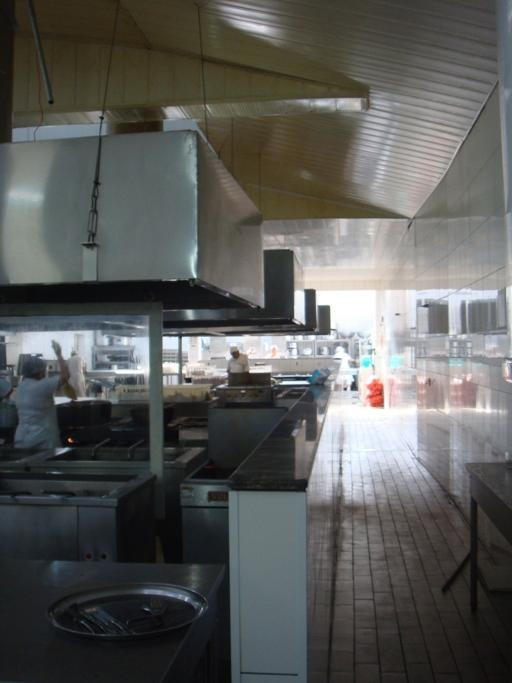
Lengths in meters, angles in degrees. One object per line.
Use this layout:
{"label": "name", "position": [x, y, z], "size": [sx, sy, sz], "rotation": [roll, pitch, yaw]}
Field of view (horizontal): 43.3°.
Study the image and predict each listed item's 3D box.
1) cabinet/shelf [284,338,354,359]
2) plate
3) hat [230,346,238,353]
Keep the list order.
{"label": "cabinet/shelf", "position": [1.609, 0.155, 16.118], "size": [1.638, 0.424, 0.491], "rotation": [-2, -1, 2]}
{"label": "plate", "position": [-0.260, 0.516, 1.227], "size": [0.321, 0.019, 0.230], "rotation": [-1, -1, -5]}
{"label": "hat", "position": [-0.315, 0.110, 8.563], "size": [0.067, 0.054, 0.072], "rotation": [-2, 3, 8]}
